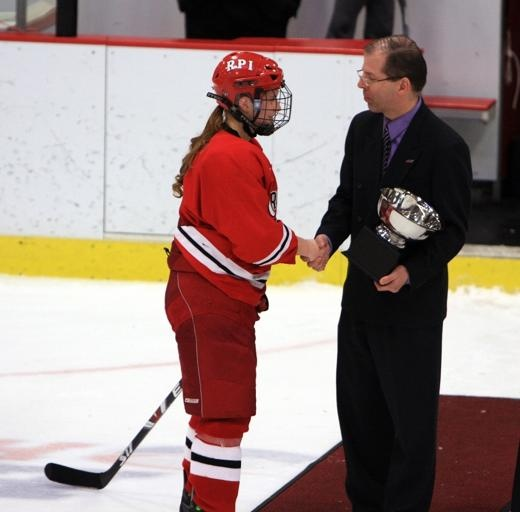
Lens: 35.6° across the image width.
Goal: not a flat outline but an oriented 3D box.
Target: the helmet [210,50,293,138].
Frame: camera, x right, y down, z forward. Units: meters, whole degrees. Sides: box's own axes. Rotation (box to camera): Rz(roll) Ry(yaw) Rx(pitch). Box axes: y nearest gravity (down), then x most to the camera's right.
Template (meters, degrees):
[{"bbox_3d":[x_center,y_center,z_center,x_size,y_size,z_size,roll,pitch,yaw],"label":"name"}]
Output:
[{"bbox_3d":[-0.021,-0.514,2.562,0.308,0.273,0.220,0,13,0],"label":"helmet"}]

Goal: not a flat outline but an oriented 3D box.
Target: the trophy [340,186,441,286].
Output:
[{"bbox_3d":[0.385,-0.056,2.392,0.261,0.295,0.155,12,16,32],"label":"trophy"}]

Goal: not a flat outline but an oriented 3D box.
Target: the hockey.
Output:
[{"bbox_3d":[-0.564,0.685,3.087,0.294,0.325,0.495,-3,22,8],"label":"hockey"}]
